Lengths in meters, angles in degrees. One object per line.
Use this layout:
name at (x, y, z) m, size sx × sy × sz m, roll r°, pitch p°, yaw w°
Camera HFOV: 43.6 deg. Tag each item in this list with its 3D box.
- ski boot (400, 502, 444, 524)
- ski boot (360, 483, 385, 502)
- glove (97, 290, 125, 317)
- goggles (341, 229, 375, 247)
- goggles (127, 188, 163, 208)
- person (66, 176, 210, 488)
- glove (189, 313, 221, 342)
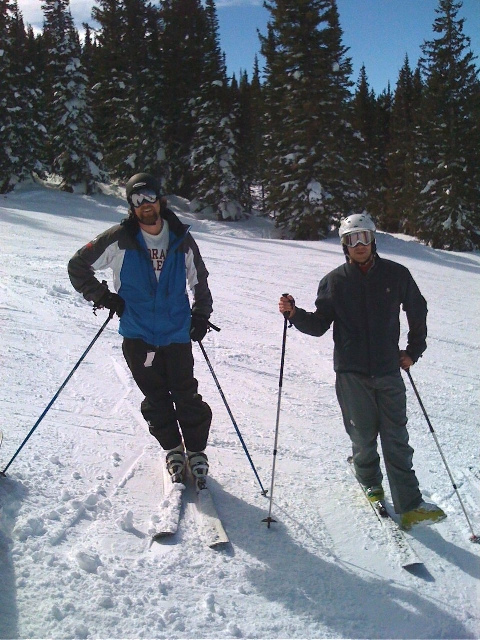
ski boot at (1.080, 1.146, 3.564) m, size 0.286 × 0.122 × 0.096 m, roll -17°, pitch 11°, yaw 18°
ski boot at (0.887, 1.127, 3.977) m, size 0.093 × 0.063 × 0.204 m, roll -3°, pitch 7°, yaw -6°
glove at (-0.777, -0.105, 3.687) m, size 0.148 × 0.145 × 0.122 m, roll 10°, pitch 15°, yaw 29°
goggles at (0.763, -0.531, 3.866) m, size 0.203 × 0.117 × 0.121 m, roll 4°, pitch 13°, yaw 8°
goggles at (-0.578, -0.753, 3.688) m, size 0.223 × 0.118 × 0.142 m, roll -1°, pitch 13°, yaw -16°
person at (-0.593, 0.070, 3.794) m, size 0.834 × 1.910 × 0.542 m, roll 2°, pitch 13°, yaw -4°
glove at (-0.233, 0.041, 3.985) m, size 0.166 × 0.179 × 0.264 m, roll 3°, pitch 13°, yaw 3°
